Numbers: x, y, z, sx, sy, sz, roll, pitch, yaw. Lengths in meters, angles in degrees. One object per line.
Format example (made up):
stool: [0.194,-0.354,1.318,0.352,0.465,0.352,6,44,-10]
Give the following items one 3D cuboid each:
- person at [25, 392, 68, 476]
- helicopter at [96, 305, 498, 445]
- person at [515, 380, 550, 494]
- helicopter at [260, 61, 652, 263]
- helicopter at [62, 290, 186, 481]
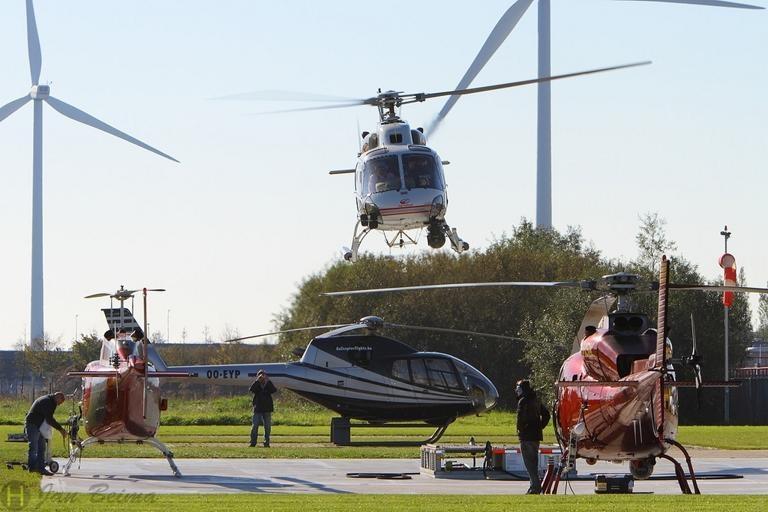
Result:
person: [-10.862,5.743,45.160,1.349,2.475,0.987,1,-4,-17]
helicopter: [-3.379,4.754,56.944,15.994,6.065,11.894,-2,-11,0]
person: [4.447,5.534,43.082,0.970,3.221,1.142,2,1,36]
helicopter: [0.106,-3.795,57.854,16.852,7.564,21.134,-6,4,-6]
helicopter: [-8.852,4.214,47.985,3.219,6.509,17.577,0,-8,-10]
